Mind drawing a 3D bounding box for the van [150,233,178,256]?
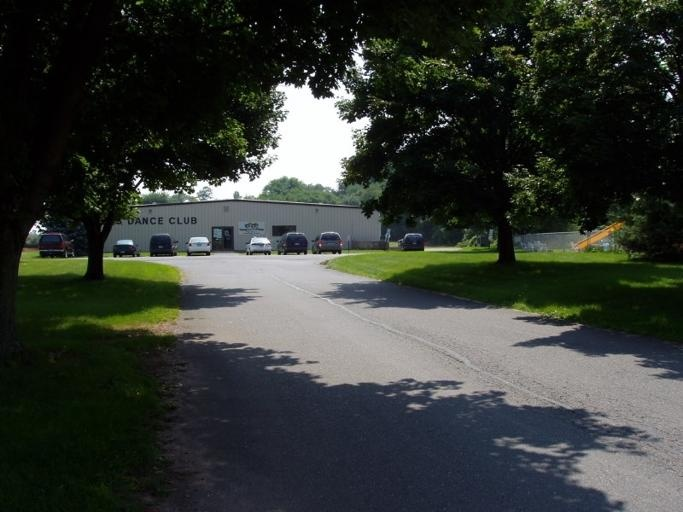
[{"bbox_3d":[-15.731,-0.868,52.136,2.113,1.971,1.747,0,-2,-26],"label":"van"}]

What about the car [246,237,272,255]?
[{"bbox_3d":[-7.772,-0.953,55.205,1.430,1.188,2.449,0,-8,-12],"label":"car"}]

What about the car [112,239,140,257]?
[{"bbox_3d":[-19.556,-0.601,53.996,1.257,1.164,3.133,0,3,-5],"label":"car"}]

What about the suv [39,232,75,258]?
[{"bbox_3d":[-25.831,-0.953,54.060,1.905,1.874,4.028,0,5,-5],"label":"suv"}]

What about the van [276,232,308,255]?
[{"bbox_3d":[-4.597,-1.082,53.763,1.579,1.377,2.698,-1,9,-13],"label":"van"}]

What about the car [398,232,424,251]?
[{"bbox_3d":[6.769,-1.366,57.226,1.325,1.134,2.268,0,9,0],"label":"car"}]

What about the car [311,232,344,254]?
[{"bbox_3d":[-1.387,-1.181,53.386,1.537,1.314,2.634,-1,8,-8],"label":"car"}]

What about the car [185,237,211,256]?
[{"bbox_3d":[-13.092,-0.865,54.623,1.307,1.091,2.939,-1,8,-12],"label":"car"}]
